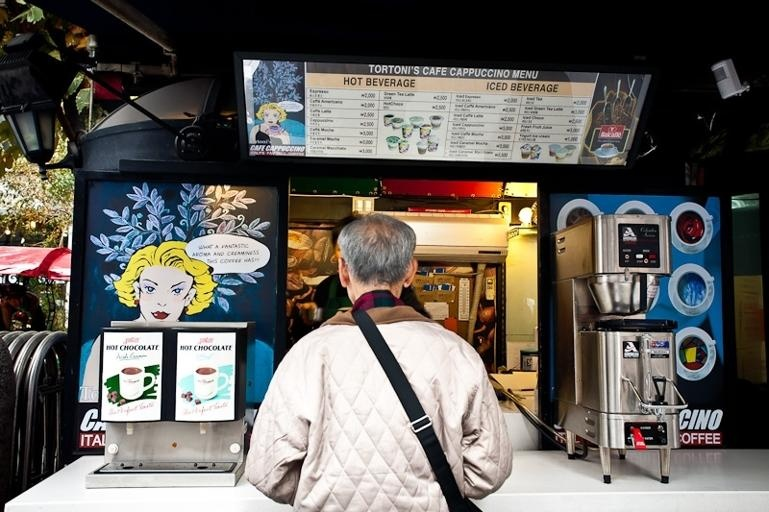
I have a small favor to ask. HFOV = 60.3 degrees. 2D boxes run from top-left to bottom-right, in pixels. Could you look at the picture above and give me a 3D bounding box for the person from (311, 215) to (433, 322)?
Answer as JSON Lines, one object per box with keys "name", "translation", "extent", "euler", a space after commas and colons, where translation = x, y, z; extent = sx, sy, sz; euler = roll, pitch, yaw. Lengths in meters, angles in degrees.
{"name": "person", "translation": [-0.110, 0.066, 4.306], "extent": [0.749, 0.992, 0.321], "euler": [0, -2, -4]}
